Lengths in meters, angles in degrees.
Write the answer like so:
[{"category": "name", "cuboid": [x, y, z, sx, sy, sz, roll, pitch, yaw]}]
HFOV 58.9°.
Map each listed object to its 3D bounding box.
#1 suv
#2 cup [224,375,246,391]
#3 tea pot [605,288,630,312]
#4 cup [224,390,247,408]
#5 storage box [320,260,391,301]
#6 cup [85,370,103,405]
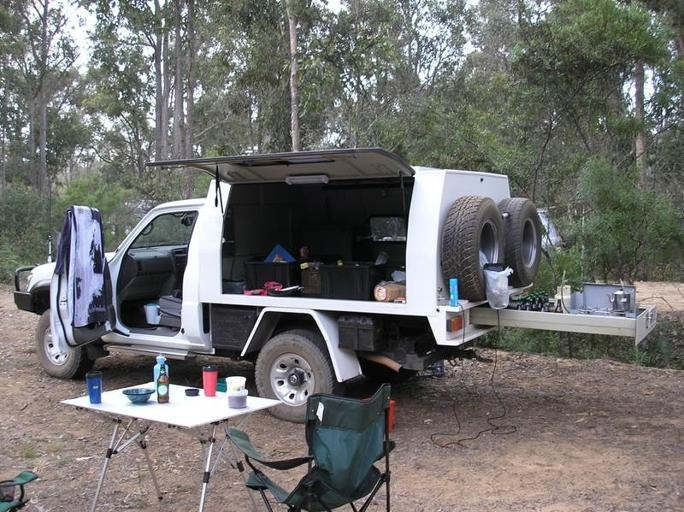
[{"category": "suv", "cuboid": [-1.141, 0.223, 7.486, 6.821, 2.894, 2.813, 2, 7, 20]}, {"category": "cup", "cuboid": [-0.829, 1.023, 4.839, 0.137, 0.089, 0.138, 0, 1, 0]}, {"category": "tea pot", "cuboid": [2.823, 0.462, 6.153, 0.195, 0.194, 0.274, 2, 7, 22]}, {"category": "cup", "cuboid": [-0.826, 1.127, 4.813, 0.127, 0.110, 0.137, 0, -1, 0]}, {"category": "storage box", "cuboid": [0.100, 0.270, 6.464, 0.426, 0.298, 0.435, 1, 2, 41]}, {"category": "cup", "cuboid": [-1.986, 1.055, 4.894, 0.110, 0.257, 0.210, -3, 7, -23]}]
